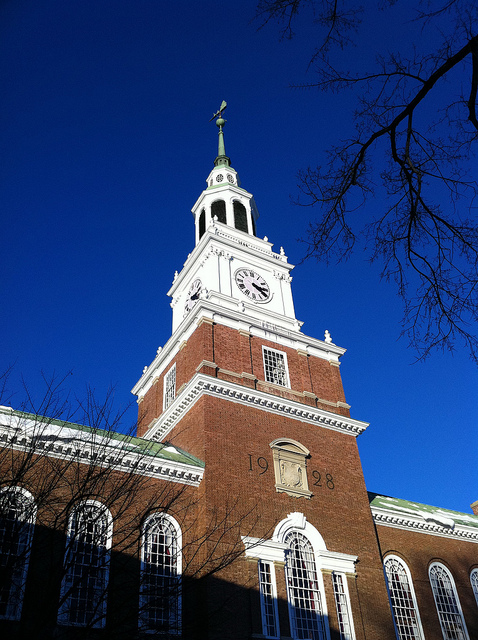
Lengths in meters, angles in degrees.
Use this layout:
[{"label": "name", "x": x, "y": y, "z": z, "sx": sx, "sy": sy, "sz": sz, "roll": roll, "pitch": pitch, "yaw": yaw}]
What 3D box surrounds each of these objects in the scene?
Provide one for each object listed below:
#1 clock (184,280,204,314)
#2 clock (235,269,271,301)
[{"label": "clock", "x": -2.278, "y": -1.220, "z": 33.523, "sx": 0.186, "sy": 1.478, "sz": 1.514, "roll": 19, "pitch": -43, "yaw": -18}, {"label": "clock", "x": 0.648, "y": -1.866, "z": 34.740, "sx": 0.278, "sy": 2.056, "sz": 2.190, "roll": -45, "pitch": -29, "yaw": 28}]
